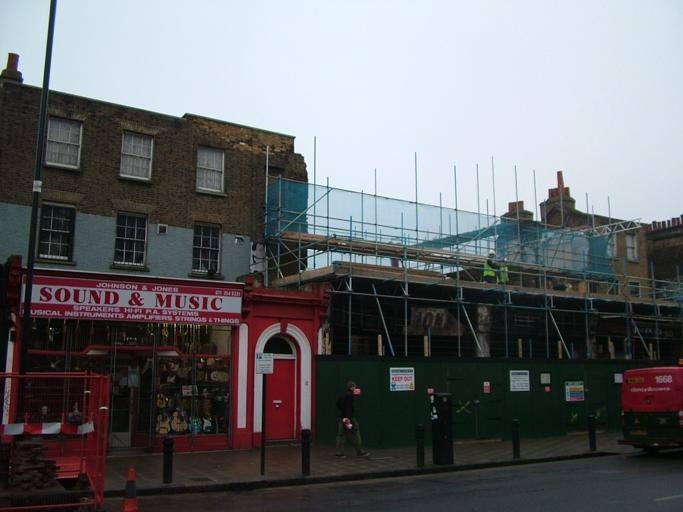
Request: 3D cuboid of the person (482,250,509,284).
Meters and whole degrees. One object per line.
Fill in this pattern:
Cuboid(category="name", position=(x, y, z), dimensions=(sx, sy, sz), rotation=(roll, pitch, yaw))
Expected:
Cuboid(category="person", position=(6.700, 0.519, 30.579), dimensions=(1.520, 1.561, 0.939), rotation=(-2, 1, -26))
